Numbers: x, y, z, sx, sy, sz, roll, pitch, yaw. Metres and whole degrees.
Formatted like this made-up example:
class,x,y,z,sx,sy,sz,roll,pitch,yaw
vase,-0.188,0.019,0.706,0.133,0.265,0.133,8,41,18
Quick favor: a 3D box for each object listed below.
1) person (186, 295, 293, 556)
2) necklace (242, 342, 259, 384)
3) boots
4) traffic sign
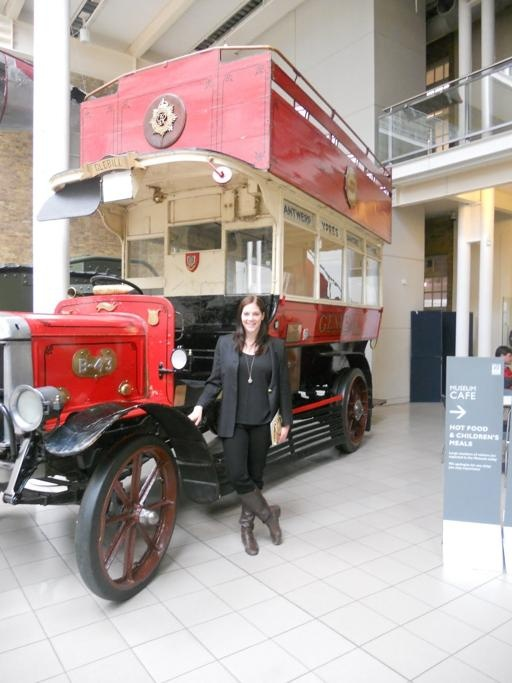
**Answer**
class,x,y,z,sx,sy,sz,roll,pitch,yaw
person,-0.084,0.470,3.016,0.553,1.274,0.252,1,0,-9
necklace,-0.040,0.127,2.952,0.078,0.185,0.058,1,0,30
boots,0.000,1.047,3.089,0.220,0.368,0.399,-13,-27,24
traffic sign,1.188,0.544,2.870,0.290,0.966,0.102,1,0,23
